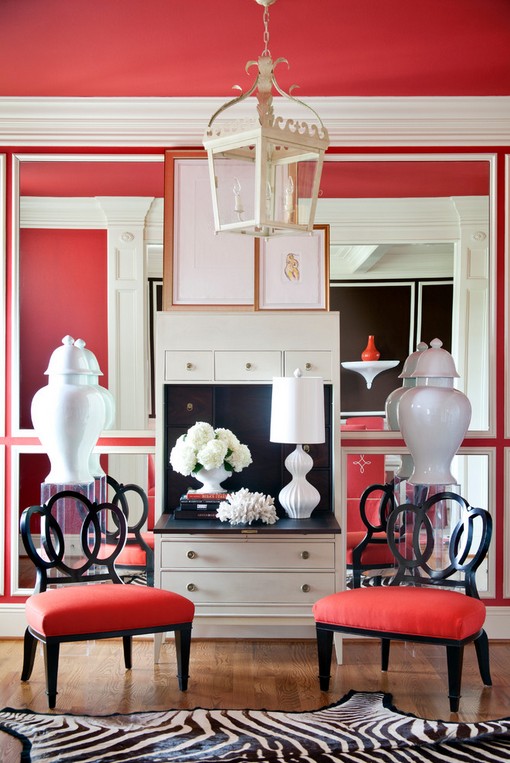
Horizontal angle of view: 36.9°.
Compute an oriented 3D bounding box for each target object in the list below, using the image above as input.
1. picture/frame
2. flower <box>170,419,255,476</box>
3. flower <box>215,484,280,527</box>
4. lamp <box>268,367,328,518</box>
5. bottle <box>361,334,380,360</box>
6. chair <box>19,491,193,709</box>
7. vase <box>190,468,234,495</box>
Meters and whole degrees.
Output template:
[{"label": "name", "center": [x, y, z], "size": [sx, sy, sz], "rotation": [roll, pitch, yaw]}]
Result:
[{"label": "picture/frame", "center": [-0.050, -0.623, 3.487], "size": [0.954, 0.861, 0.091], "rotation": [0, -3, -2]}, {"label": "flower", "center": [-0.219, 0.328, 3.843], "size": [0.332, 0.284, 0.280], "rotation": [-2, 1, -28]}, {"label": "flower", "center": [-0.043, 0.594, 3.705], "size": [0.206, 0.112, 0.204], "rotation": [2, -2, 9]}, {"label": "lamp", "center": [0.207, 0.311, 3.838], "size": [0.270, 0.590, 0.296], "rotation": [-1, 0, -10]}, {"label": "bottle", "center": [0.641, -0.175, 4.200], "size": [0.118, 0.164, 0.111], "rotation": [0, 4, 0]}, {"label": "chair", "center": [-0.710, 0.941, 3.499], "size": [0.685, 0.827, 0.803], "rotation": [-1, 0, -24]}, {"label": "vase", "center": [-0.221, 0.505, 3.878], "size": [0.167, 0.118, 0.144], "rotation": [0, 0, 2]}]
